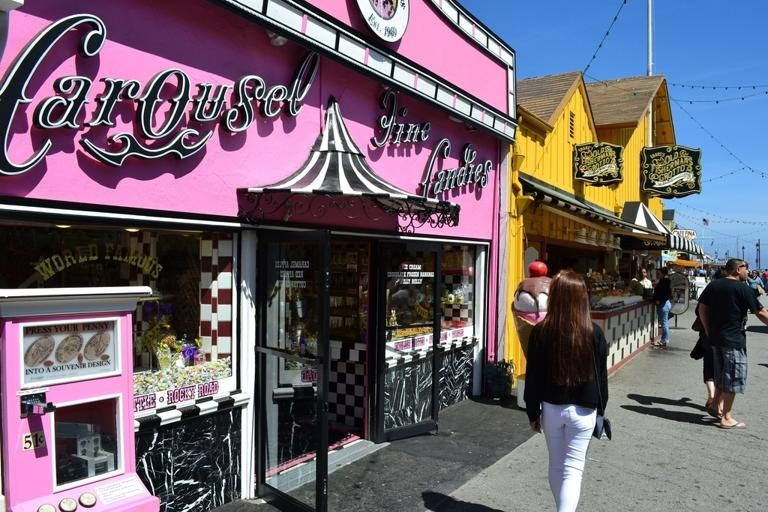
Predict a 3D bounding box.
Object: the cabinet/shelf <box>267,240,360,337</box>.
[{"bbox_3d":[-0.791,0.418,7.481,0.802,1.390,0.777,-3,2,13],"label":"cabinet/shelf"}]
